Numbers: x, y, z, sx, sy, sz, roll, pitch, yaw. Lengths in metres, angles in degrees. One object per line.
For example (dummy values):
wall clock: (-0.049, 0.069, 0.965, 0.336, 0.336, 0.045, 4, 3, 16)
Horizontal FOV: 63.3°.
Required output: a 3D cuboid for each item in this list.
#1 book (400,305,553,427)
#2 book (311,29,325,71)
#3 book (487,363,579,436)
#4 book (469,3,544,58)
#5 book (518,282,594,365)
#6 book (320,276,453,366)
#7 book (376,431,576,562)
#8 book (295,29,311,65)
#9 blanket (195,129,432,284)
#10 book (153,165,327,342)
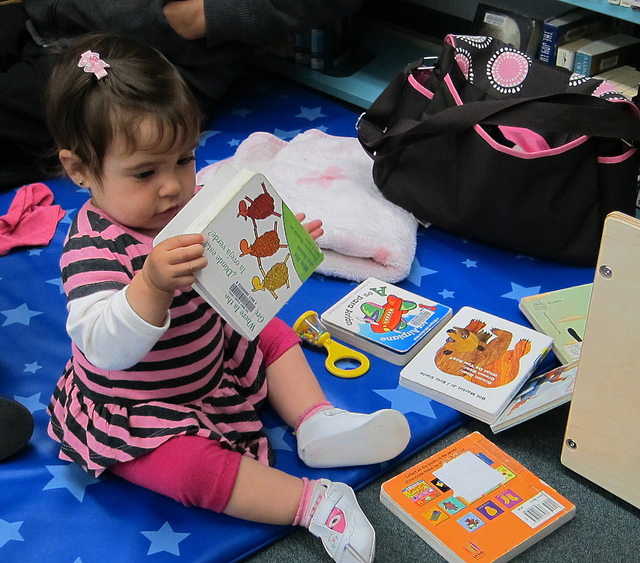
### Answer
book: (0.289, 0.140, 0.951, 0.193, 0.031, 0.233, 19, 45, 41)
book: (-0.011, -0.801, 1.798, 0.053, 0.125, 0.046, 9, 46, 12)
book: (0.358, 0.190, 0.873, 0.206, 0.032, 0.067, -18, 45, -16)
book: (0.559, -0.757, 1.556, 0.081, 0.086, 0.274, -21, 46, -19)
book: (0.475, 0.090, 1.018, 0.143, 0.148, 0.025, 43, 54, 9)
book: (0.135, 0.083, 1.062, 0.214, 0.044, 0.216, 17, 35, 19)
book: (0.218, 0.287, 0.716, 0.152, 0.020, 0.152, 29, 39, 35)
book: (-0.061, -0.821, 1.825, 0.022, 0.091, 0.086, -1, 9, -25)
blanket: (0.036, -0.209, 1.306, 0.485, 0.144, 0.466, -8, 44, -28)
book: (-0.034, -0.080, 0.745, 0.276, 0.053, 0.274, 12, 48, 26)
